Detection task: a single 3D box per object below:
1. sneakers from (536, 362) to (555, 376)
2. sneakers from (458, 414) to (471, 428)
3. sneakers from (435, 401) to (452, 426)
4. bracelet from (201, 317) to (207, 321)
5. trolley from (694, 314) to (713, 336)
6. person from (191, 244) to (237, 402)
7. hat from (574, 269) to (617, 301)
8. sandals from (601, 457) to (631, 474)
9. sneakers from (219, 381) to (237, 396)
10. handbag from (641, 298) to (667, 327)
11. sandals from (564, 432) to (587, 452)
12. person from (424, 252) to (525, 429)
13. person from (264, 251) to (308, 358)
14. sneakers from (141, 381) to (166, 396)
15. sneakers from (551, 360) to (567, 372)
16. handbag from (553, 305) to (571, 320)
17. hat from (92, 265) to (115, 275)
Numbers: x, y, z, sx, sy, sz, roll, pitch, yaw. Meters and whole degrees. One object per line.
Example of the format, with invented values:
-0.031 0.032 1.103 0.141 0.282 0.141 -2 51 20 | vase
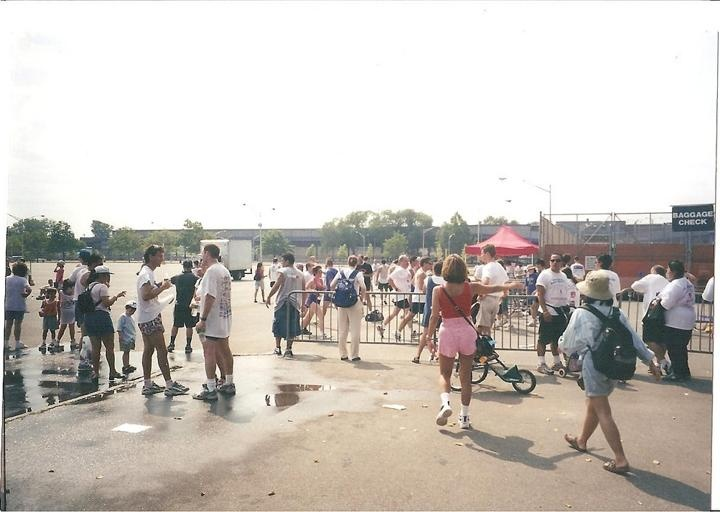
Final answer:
3.424 2.086 12.176 0.130 0.156 0.331 -1 -1 -32 | sneakers
1.494 2.344 9.430 0.172 0.201 0.250 2 15 9 | sneakers
1.162 2.230 9.157 0.147 0.435 0.192 7 37 -3 | sneakers
-2.455 0.995 10.418 0.065 0.047 0.062 0 -2 -31 | bracelet
8.009 1.623 15.415 0.428 0.604 0.827 -1 1 21 | trolley
-2.391 1.081 10.668 0.642 2.521 1.066 -3 14 -9 | person
3.071 0.403 8.727 0.456 0.275 0.494 1 21 -11 | hat
3.231 2.658 8.351 0.255 0.127 0.154 6 -1 30 | sandals
-2.192 2.182 10.840 0.317 0.149 0.148 5 2 44 | sneakers
5.204 1.045 11.696 0.367 0.678 0.659 0 -1 28 | handbag
2.872 2.503 8.855 0.115 0.122 0.322 25 9 -40 | sandals
1.433 1.263 9.458 0.963 2.482 1.416 5 15 19 | person
-1.566 1.068 13.995 0.690 2.258 1.511 0 14 1 | person
-3.368 2.154 10.813 0.408 0.210 0.184 0 4 -25 | sneakers
3.696 2.037 12.140 0.162 0.172 0.317 1 4 -8 | sneakers
3.707 1.004 12.140 0.333 0.394 0.213 5 7 17 | handbag
-4.569 0.253 11.788 0.166 0.104 0.249 3 2 25 | hat
